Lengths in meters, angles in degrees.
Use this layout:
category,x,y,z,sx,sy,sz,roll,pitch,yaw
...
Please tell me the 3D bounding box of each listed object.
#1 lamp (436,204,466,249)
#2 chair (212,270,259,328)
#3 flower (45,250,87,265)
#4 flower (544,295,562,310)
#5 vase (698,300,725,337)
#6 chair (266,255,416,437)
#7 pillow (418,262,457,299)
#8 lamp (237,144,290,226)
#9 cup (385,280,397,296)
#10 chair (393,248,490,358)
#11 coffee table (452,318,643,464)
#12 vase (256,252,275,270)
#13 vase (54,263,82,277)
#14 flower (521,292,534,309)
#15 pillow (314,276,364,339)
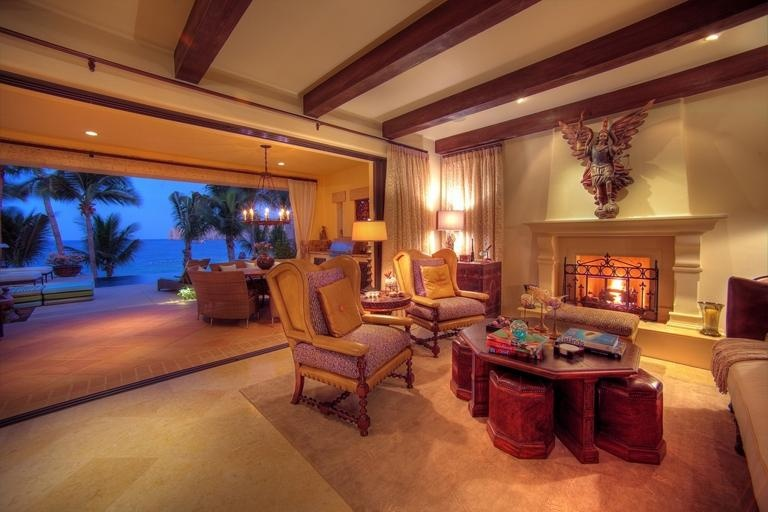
category,x,y,z,sx,sy,sz,roll,pitch,yaw
lamp,1.248,-0.516,8.251,0.503,0.785,0.570,0,3,16
chair,-2.444,0.668,7.744,0.792,1.029,0.878,1,6,-3
flower,-9.095,0.078,12.676,1.049,0.436,0.840,0,-4,27
flower,2.040,0.557,5.372,0.291,0.107,0.293,5,10,27
vase,4.414,0.860,6.043,0.426,0.485,0.423,-1,-5,40
chair,-0.427,0.969,6.401,2.014,2.398,1.895,1,5,28
pillow,0.831,0.403,6.893,0.533,0.497,0.157,-5,-18,-22
lamp,-2.318,-1.382,8.763,1.087,1.565,1.021,-4,7,-41
cup,0.108,0.471,6.514,0.204,0.288,0.204,-1,0,0
chair,0.777,0.671,7.228,1.524,1.867,1.552,-1,-2,-32
coffee table,2.023,1.458,5.219,1.541,0.706,1.546,1,1,27
vase,-2.158,0.117,8.095,0.341,0.306,0.328,-3,6,-14
vase,-8.672,0.404,12.238,0.626,0.338,0.342,-2,3,-38
flower,1.735,0.553,5.359,0.150,0.154,0.197,0,2,15
pillow,-0.532,0.634,5.482,0.172,0.610,0.634,-19,2,39
